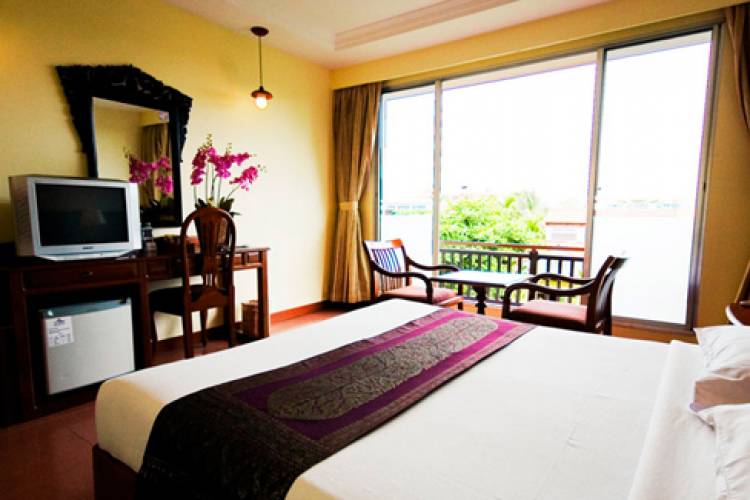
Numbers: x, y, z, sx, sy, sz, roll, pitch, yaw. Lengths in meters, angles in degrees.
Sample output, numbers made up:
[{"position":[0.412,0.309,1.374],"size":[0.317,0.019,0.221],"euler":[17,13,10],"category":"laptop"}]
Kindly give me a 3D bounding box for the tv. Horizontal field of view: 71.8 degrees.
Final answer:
[{"position":[-2.352,-0.264,4.057],"size":[0.578,0.772,1.058],"euler":[1,2,40],"category":"tv"}]

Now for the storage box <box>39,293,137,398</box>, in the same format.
[{"position":[-2.200,0.707,3.978],"size":[0.348,0.600,0.623],"euler":[-5,1,45],"category":"storage box"}]

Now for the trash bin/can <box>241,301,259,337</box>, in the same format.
[{"position":[-1.188,0.664,5.041],"size":[0.195,0.296,0.206],"euler":[-2,9,-38],"category":"trash bin/can"}]

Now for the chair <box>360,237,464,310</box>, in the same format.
[{"position":[0.372,0.370,5.022],"size":[0.803,1.006,0.749],"euler":[-2,3,27],"category":"chair"}]

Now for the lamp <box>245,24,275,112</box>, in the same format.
[{"position":[-1.121,-1.770,5.078],"size":[0.203,0.751,0.520],"euler":[-2,9,-11],"category":"lamp"}]

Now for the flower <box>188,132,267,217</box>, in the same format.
[{"position":[-1.496,-0.608,4.699],"size":[0.520,0.645,0.482],"euler":[-4,-9,-6],"category":"flower"}]

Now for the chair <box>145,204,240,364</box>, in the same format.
[{"position":[-1.581,0.275,4.500],"size":[0.716,1.288,0.713],"euler":[1,6,-2],"category":"chair"}]
